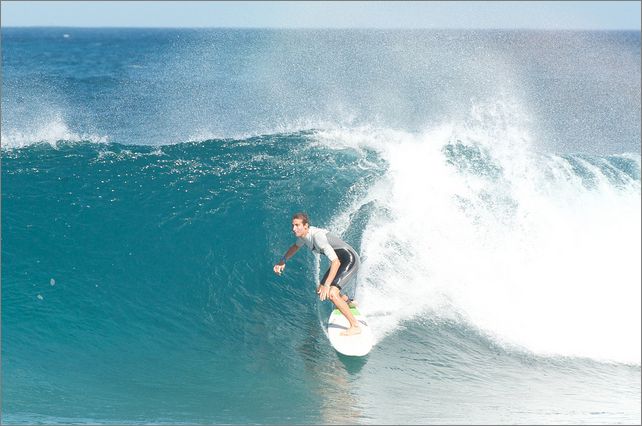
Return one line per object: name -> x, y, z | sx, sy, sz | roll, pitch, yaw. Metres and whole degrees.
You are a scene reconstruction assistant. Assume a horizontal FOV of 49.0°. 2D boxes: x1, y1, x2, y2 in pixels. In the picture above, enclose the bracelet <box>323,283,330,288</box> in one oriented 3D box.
bracelet -> 0.200, 2.643, 25.223 | 0.233, 0.167, 0.121 | 3, 46, -6
